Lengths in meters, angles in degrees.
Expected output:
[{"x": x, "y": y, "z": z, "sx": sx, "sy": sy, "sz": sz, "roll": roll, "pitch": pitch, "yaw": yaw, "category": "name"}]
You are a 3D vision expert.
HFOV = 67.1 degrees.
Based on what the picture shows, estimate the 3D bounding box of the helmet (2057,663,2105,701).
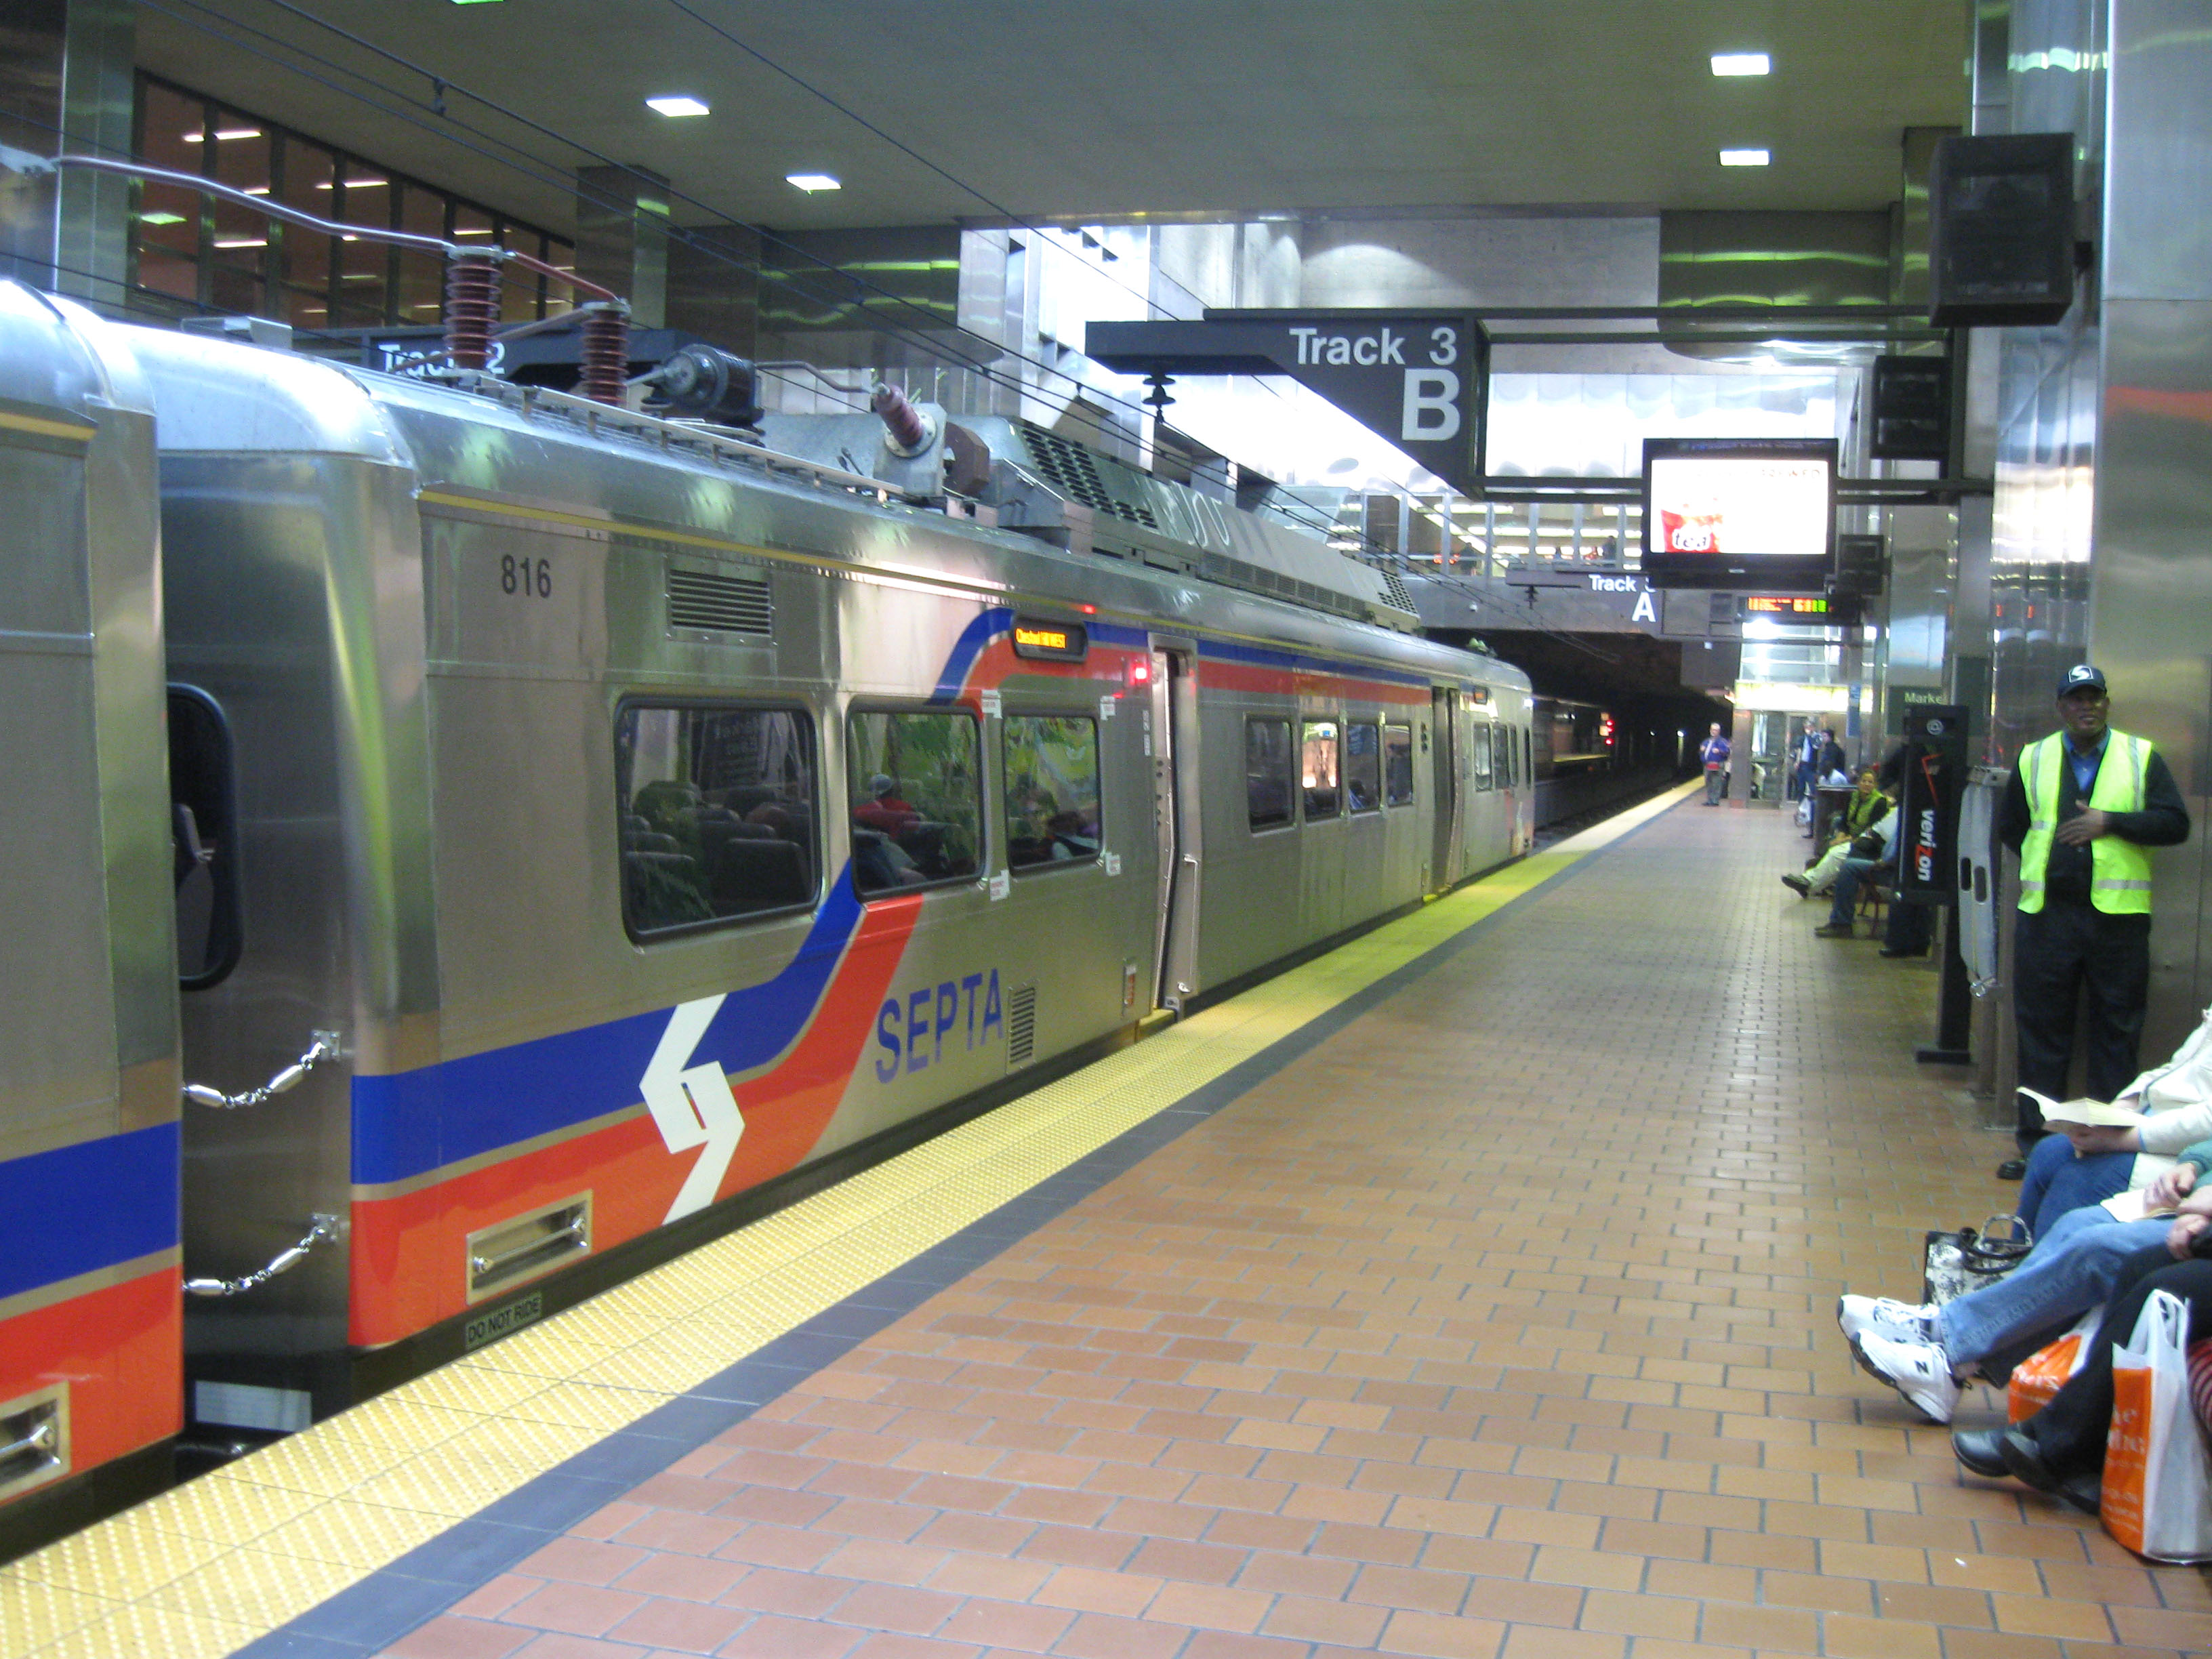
[{"x": 4.593, "y": -0.709, "z": 7.830, "sx": 0.187, "sy": 0.179, "sz": 0.295, "roll": 3, "pitch": 5, "yaw": 32, "category": "helmet"}]

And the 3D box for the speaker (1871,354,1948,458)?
[{"x": 6.124, "y": -3.224, "z": 12.650, "sx": 0.551, "sy": 0.826, "sz": 0.348, "roll": 2, "pitch": 4, "yaw": 18, "category": "speaker"}]

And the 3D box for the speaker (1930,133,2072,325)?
[{"x": 4.362, "y": -2.935, "z": 8.100, "sx": 0.682, "sy": 0.894, "sz": 0.231, "roll": 1, "pitch": 3, "yaw": 5, "category": "speaker"}]
